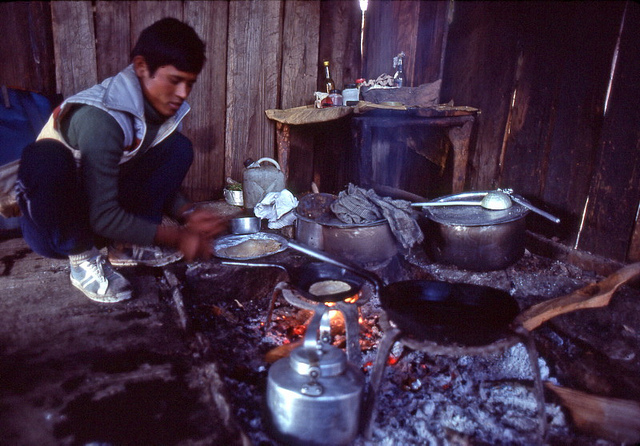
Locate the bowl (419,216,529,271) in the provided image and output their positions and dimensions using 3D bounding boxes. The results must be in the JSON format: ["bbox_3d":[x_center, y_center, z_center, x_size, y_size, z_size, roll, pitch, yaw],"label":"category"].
[{"bbox_3d":[1.184,0.219,3.380,0.519,0.180,0.504,-5,11,1],"label":"bowl"}]

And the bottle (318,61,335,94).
[{"bbox_3d":[0.093,-1.451,4.946,0.209,0.317,0.301,-5,20,-11],"label":"bottle"}]

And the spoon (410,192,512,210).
[{"bbox_3d":[1.098,-0.070,3.529,0.809,0.116,0.255,-3,18,13],"label":"spoon"}]

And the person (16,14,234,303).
[{"bbox_3d":[-1.396,-0.302,3.030,1.322,1.790,1.023,-9,22,-19],"label":"person"}]
